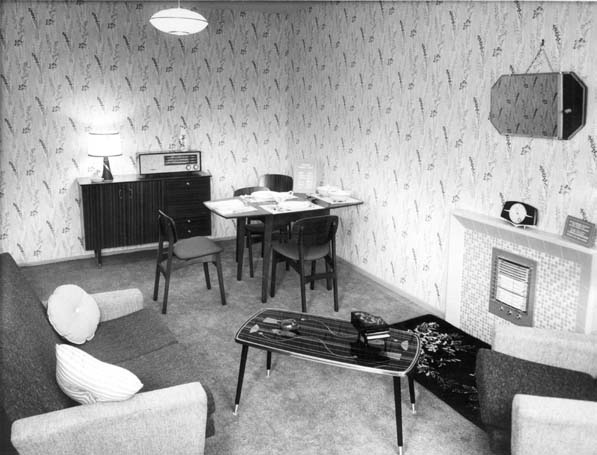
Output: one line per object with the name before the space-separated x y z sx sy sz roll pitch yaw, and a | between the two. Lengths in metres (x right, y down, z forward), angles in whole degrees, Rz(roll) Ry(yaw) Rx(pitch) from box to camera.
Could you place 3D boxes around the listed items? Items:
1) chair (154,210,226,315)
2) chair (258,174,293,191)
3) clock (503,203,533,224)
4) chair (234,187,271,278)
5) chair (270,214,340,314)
chair | -1.113 0.328 4.465 0.622 0.996 0.565 -10 19 -35
chair | -0.282 -0.626 5.707 0.261 0.213 0.277 8 10 28
clock | 1.733 -0.110 3.505 0.044 0.155 0.228 -8 13 -22
chair | -0.445 -0.003 5.305 0.541 1.026 0.521 -5 13 -24
chair | 0.080 0.325 4.602 0.551 1.095 0.660 -11 23 -26
